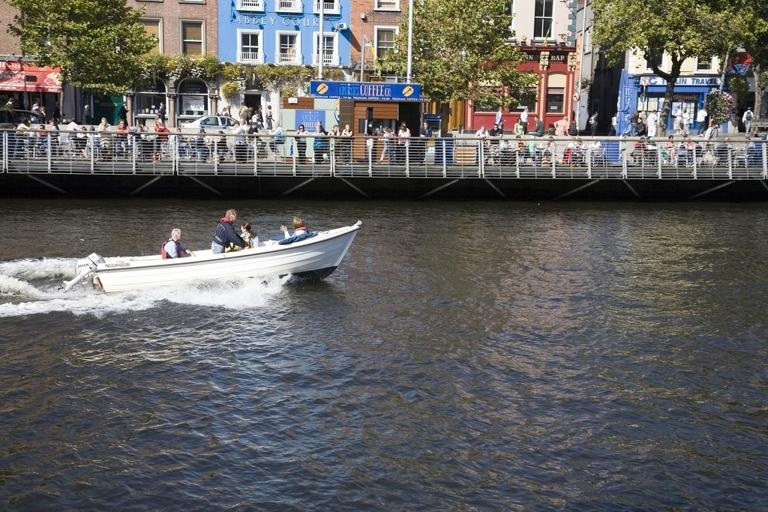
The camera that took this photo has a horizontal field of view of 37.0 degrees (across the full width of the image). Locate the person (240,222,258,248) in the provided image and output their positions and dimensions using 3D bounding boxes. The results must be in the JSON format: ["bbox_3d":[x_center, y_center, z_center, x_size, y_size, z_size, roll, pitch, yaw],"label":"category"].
[{"bbox_3d":[-4.882,-0.762,42.089,0.525,0.730,1.328,-2,1,-11],"label":"person"}]

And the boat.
[{"bbox_3d":[-5.954,0.230,40.468,10.667,1.724,2.189,-6,6,-10],"label":"boat"}]
